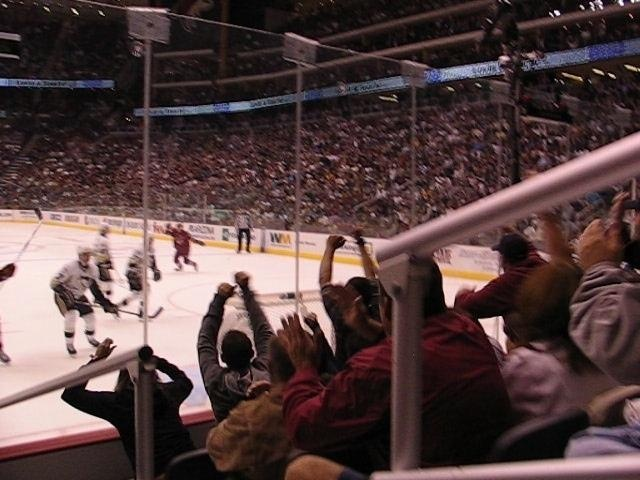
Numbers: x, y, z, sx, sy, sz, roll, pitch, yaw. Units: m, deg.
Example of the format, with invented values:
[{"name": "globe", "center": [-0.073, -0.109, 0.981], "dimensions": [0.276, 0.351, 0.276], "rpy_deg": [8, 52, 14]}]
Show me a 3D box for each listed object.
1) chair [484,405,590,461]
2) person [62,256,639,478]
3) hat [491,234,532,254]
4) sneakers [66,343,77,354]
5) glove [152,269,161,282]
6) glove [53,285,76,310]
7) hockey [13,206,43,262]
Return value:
[{"name": "chair", "center": [0.681, 0.606, 1.742], "dimensions": [0.268, 0.227, 0.193], "rpy_deg": [5, -18, 18]}, {"name": "person", "center": [0.037, 0.589, 2.389], "dimensions": [1.104, 0.427, 1.088], "rpy_deg": [-26, -4, -33]}, {"name": "hat", "center": [0.646, 0.014, 1.834], "dimensions": [0.069, 0.045, 0.092], "rpy_deg": [2, 11, -7]}, {"name": "sneakers", "center": [-1.658, 0.731, 3.668], "dimensions": [0.042, 0.046, 0.122], "rpy_deg": [3, -2, -35]}, {"name": "glove", "center": [-1.022, 0.226, 3.451], "dimensions": [0.062, 0.061, 0.053], "rpy_deg": [-1, -3, 43]}, {"name": "glove", "center": [-1.702, 0.389, 3.721], "dimensions": [0.151, 0.189, 0.059], "rpy_deg": [-17, 4, 25]}, {"name": "hockey", "center": [-2.073, -0.039, 3.954], "dimensions": [0.158, 0.390, 0.207], "rpy_deg": [0, 5, 6]}]
